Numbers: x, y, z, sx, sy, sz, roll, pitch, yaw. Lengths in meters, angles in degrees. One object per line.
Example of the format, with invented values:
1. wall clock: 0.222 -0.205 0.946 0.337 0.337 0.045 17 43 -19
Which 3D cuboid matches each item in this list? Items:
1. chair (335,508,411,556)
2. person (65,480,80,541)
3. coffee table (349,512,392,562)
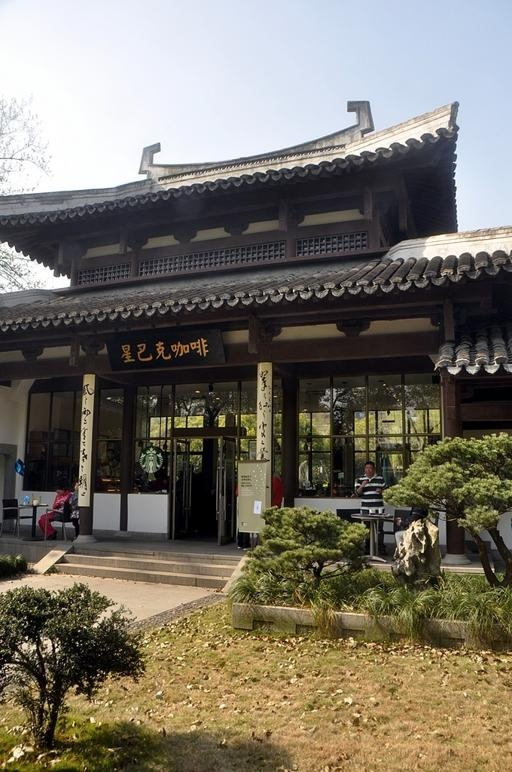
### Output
1. chair: 1.922 2.175 9.381 1.112 0.856 1.167 5 -13 -13
2. person: -3.586 2.535 11.662 0.194 0.847 1.032 0 -6 -19
3. coffee table: 1.670 2.179 8.681 0.534 0.593 0.543 6 -9 -23
